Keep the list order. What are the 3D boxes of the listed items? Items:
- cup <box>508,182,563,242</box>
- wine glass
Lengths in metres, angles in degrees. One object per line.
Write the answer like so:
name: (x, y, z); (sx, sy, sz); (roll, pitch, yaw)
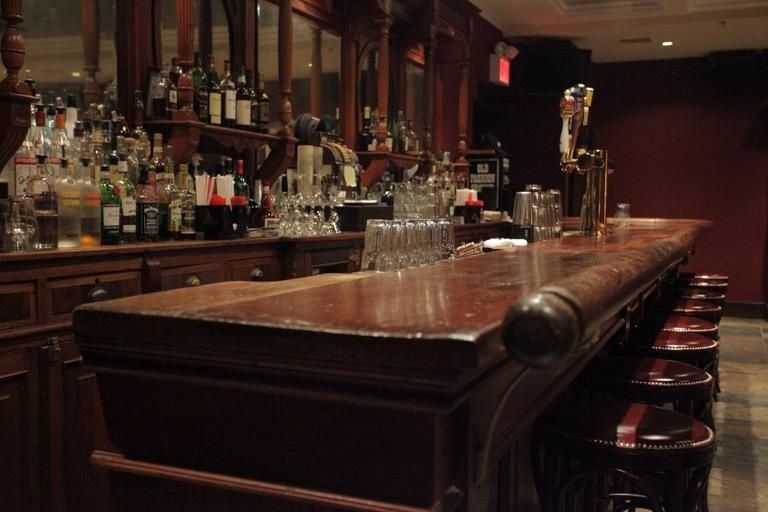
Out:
cup: (0.719, -0.226, 3.070); (0.255, 0.357, 0.262); (0, 8, 0)
wine glass: (-0.497, -0.299, 3.970); (0.388, 0.391, 0.367); (1, -3, -38)
